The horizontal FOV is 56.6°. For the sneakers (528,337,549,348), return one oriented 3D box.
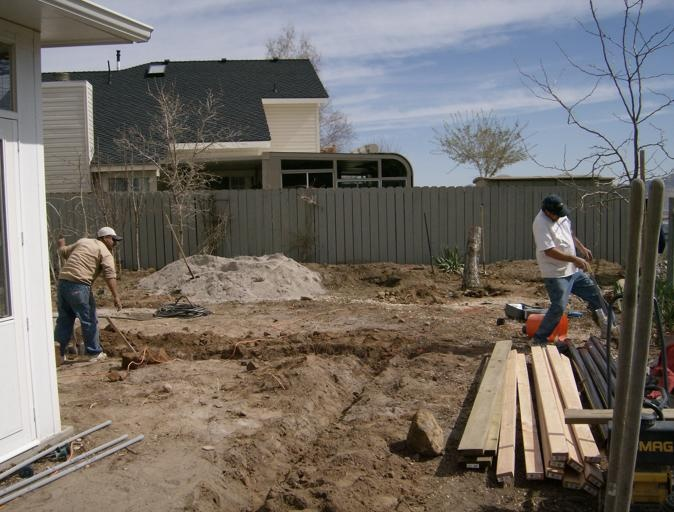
[{"bbox_3d":[2.614,1.101,8.039,0.185,0.092,0.241,0,-6,1],"label":"sneakers"}]

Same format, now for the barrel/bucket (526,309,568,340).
[{"bbox_3d":[2.902,0.962,8.483,0.422,0.472,0.382,7,0,-7],"label":"barrel/bucket"}]

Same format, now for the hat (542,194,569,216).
[{"bbox_3d":[2.791,-0.630,7.979,0.303,0.158,0.219,18,46,33],"label":"hat"}]

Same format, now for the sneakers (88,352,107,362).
[{"bbox_3d":[-3.236,1.348,8.440,0.092,0.091,0.196,8,10,42],"label":"sneakers"}]

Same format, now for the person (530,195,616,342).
[{"bbox_3d":[3.017,0.146,8.119,1.009,1.939,0.893,-9,12,4],"label":"person"}]

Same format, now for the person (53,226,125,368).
[{"bbox_3d":[-3.428,0.504,8.523,0.845,1.704,0.708,-4,11,-24],"label":"person"}]
